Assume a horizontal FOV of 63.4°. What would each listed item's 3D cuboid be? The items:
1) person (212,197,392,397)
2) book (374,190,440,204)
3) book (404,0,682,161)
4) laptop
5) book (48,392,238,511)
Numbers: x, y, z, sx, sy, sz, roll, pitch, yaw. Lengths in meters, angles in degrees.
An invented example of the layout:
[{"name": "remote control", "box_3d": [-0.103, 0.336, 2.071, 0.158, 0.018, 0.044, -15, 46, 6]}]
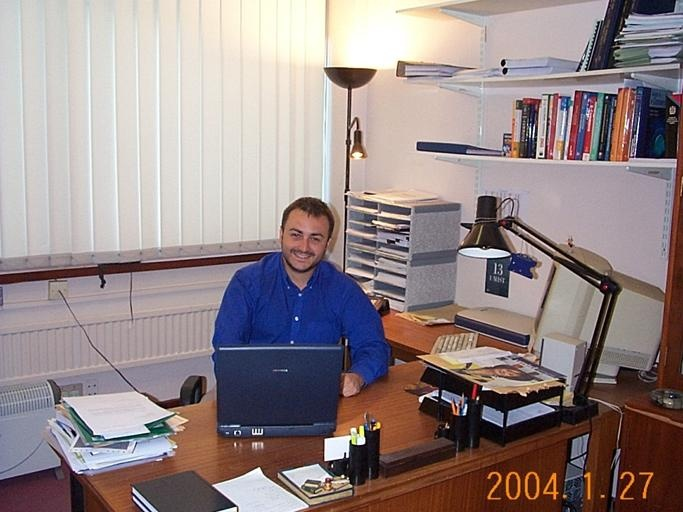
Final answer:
[{"name": "person", "box_3d": [-0.161, 0.152, 2.291, 0.748, 0.748, 0.560, 4, 5, -6]}, {"name": "book", "box_3d": [0.387, -0.368, 3.412, 0.330, 0.048, 0.332, 9, 15, 33]}, {"name": "book", "box_3d": [1.042, -0.853, 2.603, 0.408, 0.776, 1.111, -11, 16, -41]}, {"name": "laptop", "box_3d": [-0.206, 0.430, 1.758, 0.383, 0.303, 0.311, 2, 11, -5]}, {"name": "book", "box_3d": [-0.620, 0.576, 1.626, 0.371, 0.128, 0.505, -6, 21, -41]}]
